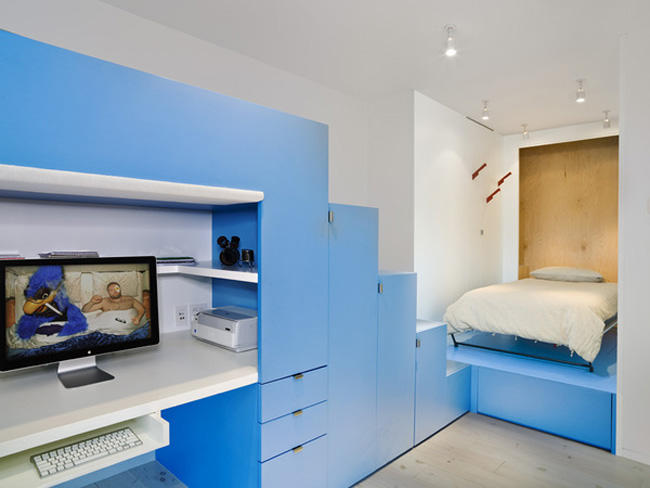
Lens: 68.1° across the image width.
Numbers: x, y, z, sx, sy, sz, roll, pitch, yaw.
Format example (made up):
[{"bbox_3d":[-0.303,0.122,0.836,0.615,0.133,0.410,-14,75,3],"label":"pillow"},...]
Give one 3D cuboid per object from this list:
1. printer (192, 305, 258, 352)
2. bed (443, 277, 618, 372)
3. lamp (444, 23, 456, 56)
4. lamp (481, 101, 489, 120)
[{"bbox_3d":[-0.585,0.496,2.870,0.400,0.159,0.312,7,4,28],"label":"printer"},{"bbox_3d":[2.178,0.725,4.824,1.396,0.836,1.400,8,-14,-42],"label":"bed"},{"bbox_3d":[0.983,-1.607,3.806,0.106,0.207,0.109,-10,15,-20],"label":"lamp"},{"bbox_3d":[1.795,-1.519,5.403,0.105,0.210,0.109,-2,7,-19],"label":"lamp"}]
